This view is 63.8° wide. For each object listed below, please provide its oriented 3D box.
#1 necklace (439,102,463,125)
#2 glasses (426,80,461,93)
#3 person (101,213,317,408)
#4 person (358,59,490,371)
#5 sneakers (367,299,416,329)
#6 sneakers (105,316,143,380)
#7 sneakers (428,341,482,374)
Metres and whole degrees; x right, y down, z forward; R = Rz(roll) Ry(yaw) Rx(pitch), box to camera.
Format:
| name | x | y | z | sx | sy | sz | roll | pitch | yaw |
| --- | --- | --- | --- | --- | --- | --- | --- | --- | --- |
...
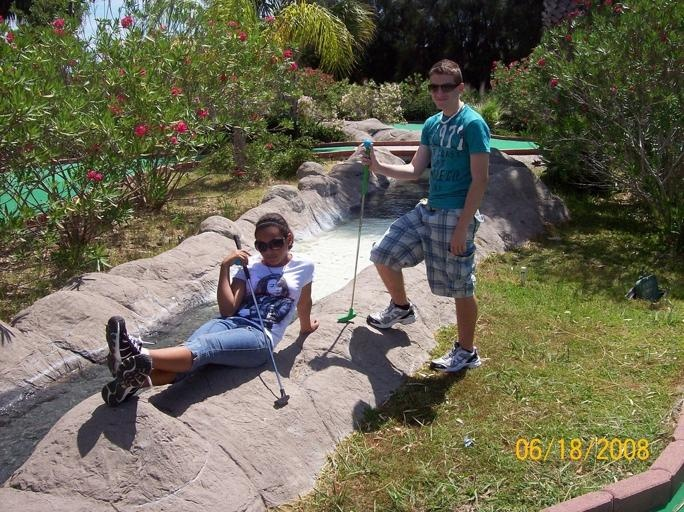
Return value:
| name | x | y | z | sx | sy | sz | roll | pitch | yaw |
| --- | --- | --- | --- | --- | --- | --- | --- | --- | --- |
| necklace | 0.819 | -1.095 | 4.148 | 0.127 | 0.160 | 0.120 | 17 | -17 | 30 |
| glasses | 0.768 | -1.250 | 4.077 | 0.229 | 0.095 | 0.113 | 5 | 18 | 10 |
| person | -0.844 | 0.303 | 3.940 | 0.501 | 1.045 | 1.866 | 6 | 9 | 31 |
| person | 0.727 | -0.250 | 4.322 | 0.910 | 2.415 | 0.516 | 7 | 18 | 15 |
| sneakers | 0.400 | 0.517 | 4.820 | 0.457 | 0.247 | 0.184 | -10 | 23 | 6 |
| sneakers | -1.376 | 0.521 | 3.445 | 0.210 | 0.465 | 0.151 | 3 | 4 | -43 |
| sneakers | 0.944 | 0.844 | 4.574 | 0.459 | 0.243 | 0.179 | -4 | 7 | -9 |
